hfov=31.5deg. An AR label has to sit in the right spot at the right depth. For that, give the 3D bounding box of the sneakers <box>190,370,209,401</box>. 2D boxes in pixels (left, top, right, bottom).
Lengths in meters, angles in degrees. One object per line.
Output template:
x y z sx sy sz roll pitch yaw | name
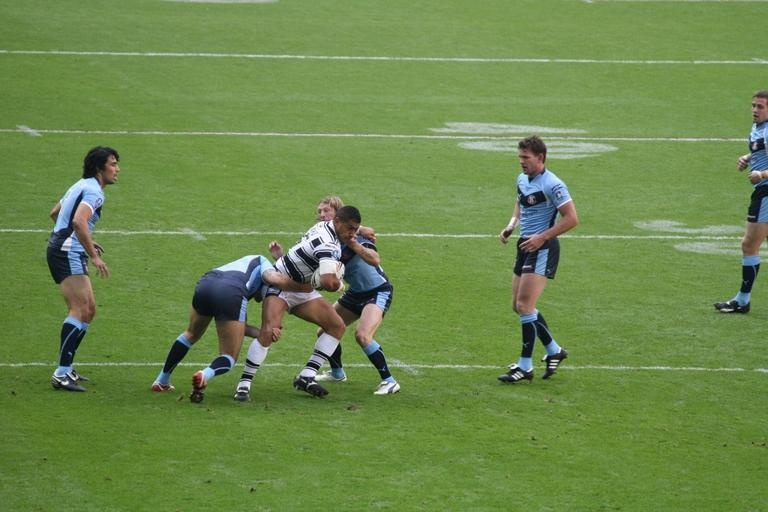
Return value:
-2.837 2.023 20.897 0.236 0.496 0.289 8 8 21 | sneakers

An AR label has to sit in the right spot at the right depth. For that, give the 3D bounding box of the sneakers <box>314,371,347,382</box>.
-0.870 1.963 22.071 0.533 0.167 0.182 4 1 -1 | sneakers

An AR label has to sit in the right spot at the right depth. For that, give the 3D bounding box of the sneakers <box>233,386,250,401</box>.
-2.199 2.153 21.164 0.250 0.188 0.553 1 -5 -13 | sneakers

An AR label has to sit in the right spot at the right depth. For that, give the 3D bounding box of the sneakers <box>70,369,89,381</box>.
-4.890 1.897 21.523 0.417 0.134 0.118 6 16 1 | sneakers

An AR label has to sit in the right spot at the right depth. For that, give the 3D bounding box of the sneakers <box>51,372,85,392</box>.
-4.945 1.998 21.249 0.664 0.222 0.216 3 4 -1 | sneakers

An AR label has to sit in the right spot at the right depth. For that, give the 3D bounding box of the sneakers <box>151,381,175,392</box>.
-3.461 2.062 21.377 0.311 0.107 0.154 1 10 -44 | sneakers

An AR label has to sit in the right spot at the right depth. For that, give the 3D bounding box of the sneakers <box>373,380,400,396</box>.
0.057 2.093 21.589 0.432 0.206 0.270 2 10 -6 | sneakers

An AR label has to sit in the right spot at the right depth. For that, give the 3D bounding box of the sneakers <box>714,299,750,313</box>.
6.252 0.902 24.358 0.634 0.205 0.240 5 -3 7 | sneakers
